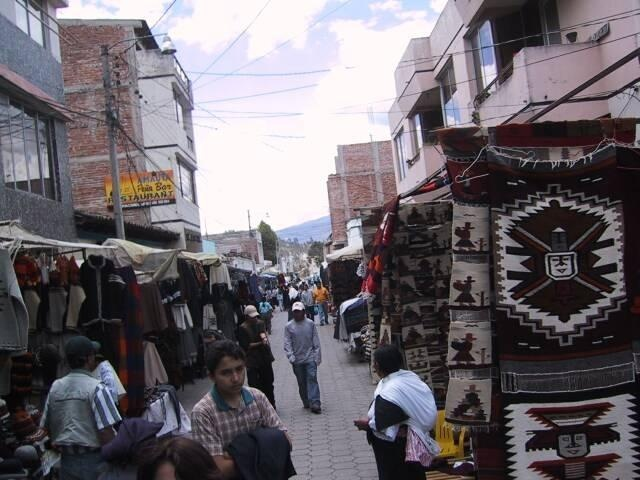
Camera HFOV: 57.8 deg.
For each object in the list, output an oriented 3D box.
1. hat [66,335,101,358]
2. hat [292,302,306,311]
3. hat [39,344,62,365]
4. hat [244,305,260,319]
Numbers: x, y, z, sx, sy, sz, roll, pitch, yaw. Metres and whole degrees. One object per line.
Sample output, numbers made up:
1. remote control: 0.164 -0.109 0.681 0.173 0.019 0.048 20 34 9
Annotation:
1. hat: -2.258 1.025 5.643 0.251 0.183 0.386 3 3 33
2. hat: -0.390 1.155 10.003 0.143 0.118 0.218 -3 -3 8
3. hat: -3.170 1.346 6.839 0.217 0.212 0.226 -2 -2 7
4. hat: -1.212 1.253 10.082 0.185 0.128 0.235 -12 15 -30
